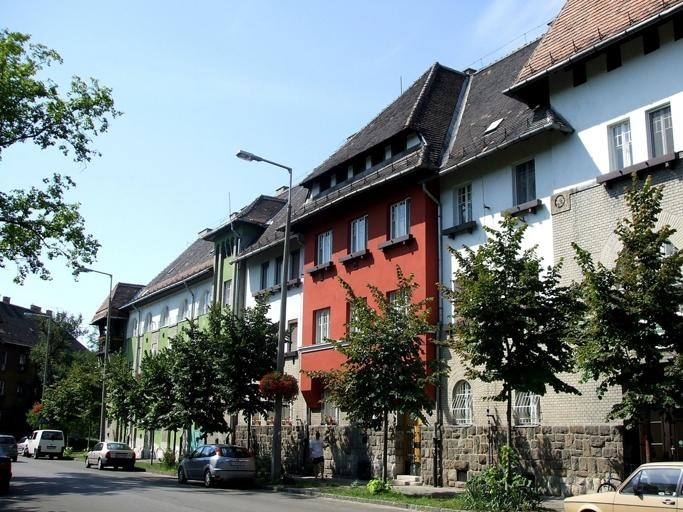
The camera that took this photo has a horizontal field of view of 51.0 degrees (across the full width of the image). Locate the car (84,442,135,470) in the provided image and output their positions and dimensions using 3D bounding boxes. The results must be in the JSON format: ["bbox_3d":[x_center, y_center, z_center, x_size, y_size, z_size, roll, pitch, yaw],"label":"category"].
[{"bbox_3d":[-13.070,11.339,40.409,1.453,1.265,3.366,10,-17,-31],"label":"car"}]

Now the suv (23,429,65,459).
[{"bbox_3d":[-21.911,14.031,53.086,1.737,1.706,3.024,10,-17,-31],"label":"suv"}]

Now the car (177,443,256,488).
[{"bbox_3d":[-5.219,8.681,29.937,1.751,1.373,2.961,16,-24,-36],"label":"car"}]
